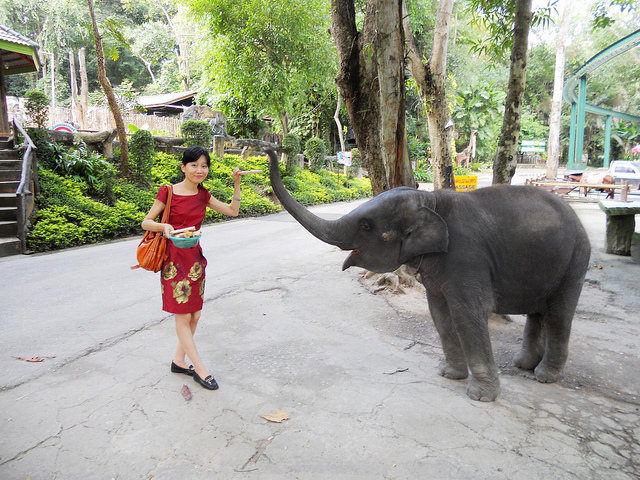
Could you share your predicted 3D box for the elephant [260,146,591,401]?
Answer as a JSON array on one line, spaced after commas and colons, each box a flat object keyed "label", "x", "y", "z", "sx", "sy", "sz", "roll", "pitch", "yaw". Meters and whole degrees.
[{"label": "elephant", "x": 1.119, "y": 0.486, "z": 4.189, "sx": 3.183, "sy": 1.866, "sz": 0.986, "roll": 0, "pitch": 6, "yaw": -5}]

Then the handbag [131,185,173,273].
[{"label": "handbag", "x": -1.538, "y": -0.082, "z": 3.890, "sx": 0.398, "sy": 0.807, "sz": 0.251, "roll": -4, "pitch": 14, "yaw": -18}]

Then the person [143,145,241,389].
[{"label": "person", "x": -1.221, "y": 0.232, "z": 4.055, "sx": 0.795, "sy": 2.204, "sz": 0.794, "roll": 1, "pitch": 13, "yaw": 2}]

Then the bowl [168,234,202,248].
[{"label": "bowl", "x": -1.233, "y": 0.003, "z": 3.847, "sx": 0.260, "sy": 0.147, "sz": 0.181, "roll": -4, "pitch": 14, "yaw": -21}]
